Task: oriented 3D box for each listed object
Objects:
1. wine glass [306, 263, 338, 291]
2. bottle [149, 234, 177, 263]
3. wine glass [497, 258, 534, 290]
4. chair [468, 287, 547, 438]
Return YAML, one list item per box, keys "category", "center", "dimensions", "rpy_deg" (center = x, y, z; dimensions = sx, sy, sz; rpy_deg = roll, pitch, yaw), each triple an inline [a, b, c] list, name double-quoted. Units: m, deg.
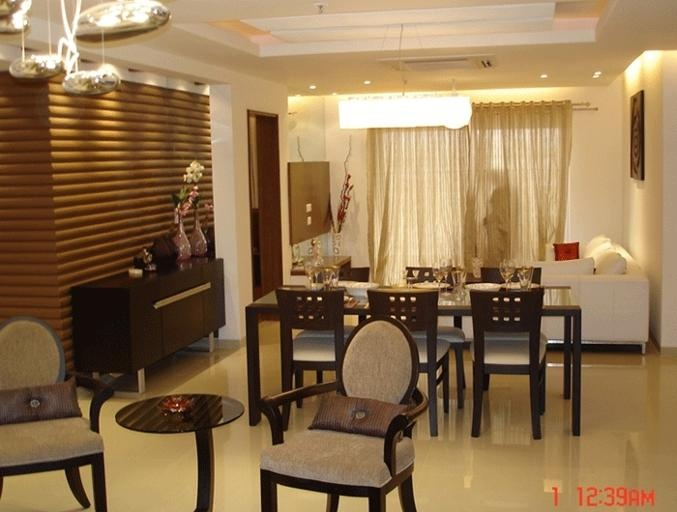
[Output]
- category: "wine glass"
  center: [-0.120, 0.168, 4.568]
  dimensions: [0.223, 0.251, 0.220]
  rpy_deg: [2, 2, 24]
- category: "bottle"
  center: [-1.955, -0.086, 6.064]
  dimensions: [0.273, 0.278, 0.280]
  rpy_deg: [3, -3, -5]
- category: "wine glass"
  center: [1.597, 0.166, 4.861]
  dimensions: [0.272, 0.237, 0.179]
  rpy_deg: [0, 7, -8]
- category: "chair"
  center: [1.363, 0.784, 4.297]
  dimensions: [0.531, 1.155, 0.736]
  rpy_deg: [2, 9, 21]
